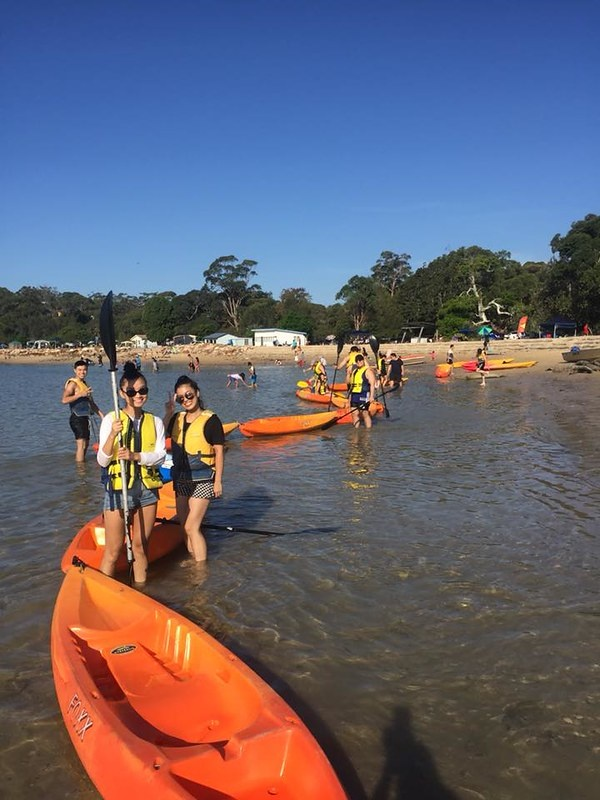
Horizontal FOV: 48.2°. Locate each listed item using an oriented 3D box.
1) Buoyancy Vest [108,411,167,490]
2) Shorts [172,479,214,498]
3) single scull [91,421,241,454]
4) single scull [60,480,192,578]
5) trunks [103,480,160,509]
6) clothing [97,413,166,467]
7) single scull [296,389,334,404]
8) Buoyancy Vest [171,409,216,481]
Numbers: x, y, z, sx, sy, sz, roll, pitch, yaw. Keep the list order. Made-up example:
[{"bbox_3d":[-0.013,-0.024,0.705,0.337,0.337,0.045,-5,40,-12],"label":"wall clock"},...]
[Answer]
[{"bbox_3d":[-1.480,0.398,5.850,0.431,0.552,0.307,5,-13,-23],"label":"Buoyancy Vest"},{"bbox_3d":[-1.025,0.846,6.402,0.377,0.228,0.196,-1,-6,9],"label":"Shorts"},{"bbox_3d":[-2.492,0.608,13.815,4.008,0.639,1.121,-1,1,-42],"label":"single scull"},{"bbox_3d":[-1.834,1.317,7.087,0.566,0.267,1.676,18,8,6],"label":"single scull"},{"bbox_3d":[-1.460,0.835,5.764,0.469,0.291,0.264,3,-14,-37],"label":"trunks"},{"bbox_3d":[-1.444,0.320,5.751,0.554,0.443,0.282,-1,15,-3],"label":"clothing"},{"bbox_3d":[0.419,-0.094,22.069,0.461,0.221,1.443,8,2,-29],"label":"single scull"},{"bbox_3d":[-1.045,0.419,6.452,0.468,0.651,0.340,1,3,27],"label":"Buoyancy Vest"}]
